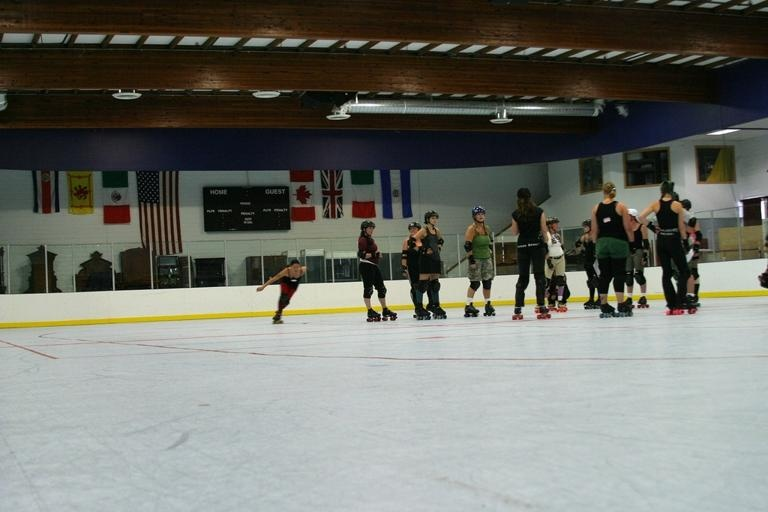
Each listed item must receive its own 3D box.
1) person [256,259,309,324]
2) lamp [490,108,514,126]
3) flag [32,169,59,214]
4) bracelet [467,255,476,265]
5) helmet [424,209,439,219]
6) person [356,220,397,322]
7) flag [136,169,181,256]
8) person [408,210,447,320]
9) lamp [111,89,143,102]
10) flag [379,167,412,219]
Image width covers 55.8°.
[{"bbox_3d":[-1.872,0.700,13.323,0.475,1.173,1.415,-3,0,-20],"label":"person"},{"bbox_3d":[2.658,-3.283,17.068,0.513,0.310,0.521,-1,-1,43],"label":"lamp"},{"bbox_3d":[-9.916,-1.820,20.895,0.726,1.321,0.269,-3,0,-23],"label":"flag"},{"bbox_3d":[1.341,0.074,11.419,0.138,0.177,0.136,-7,-9,22],"label":"bracelet"},{"bbox_3d":[0.735,-0.652,11.711,0.180,0.121,0.245,-2,0,-6],"label":"helmet"},{"bbox_3d":[-0.178,0.264,12.624,0.602,1.720,1.061,-3,0,-1],"label":"person"},{"bbox_3d":[-6.800,-1.466,21.528,1.244,2.468,0.514,-3,0,-22],"label":"flag"},{"bbox_3d":[0.692,0.164,11.914,0.527,1.721,0.929,-3,0,2],"label":"person"},{"bbox_3d":[-5.178,-3.184,14.265,0.662,0.135,0.618,0,-1,2],"label":"lamp"},{"bbox_3d":[0.338,-2.011,23.804,1.140,1.554,0.212,-3,0,-31],"label":"flag"}]
